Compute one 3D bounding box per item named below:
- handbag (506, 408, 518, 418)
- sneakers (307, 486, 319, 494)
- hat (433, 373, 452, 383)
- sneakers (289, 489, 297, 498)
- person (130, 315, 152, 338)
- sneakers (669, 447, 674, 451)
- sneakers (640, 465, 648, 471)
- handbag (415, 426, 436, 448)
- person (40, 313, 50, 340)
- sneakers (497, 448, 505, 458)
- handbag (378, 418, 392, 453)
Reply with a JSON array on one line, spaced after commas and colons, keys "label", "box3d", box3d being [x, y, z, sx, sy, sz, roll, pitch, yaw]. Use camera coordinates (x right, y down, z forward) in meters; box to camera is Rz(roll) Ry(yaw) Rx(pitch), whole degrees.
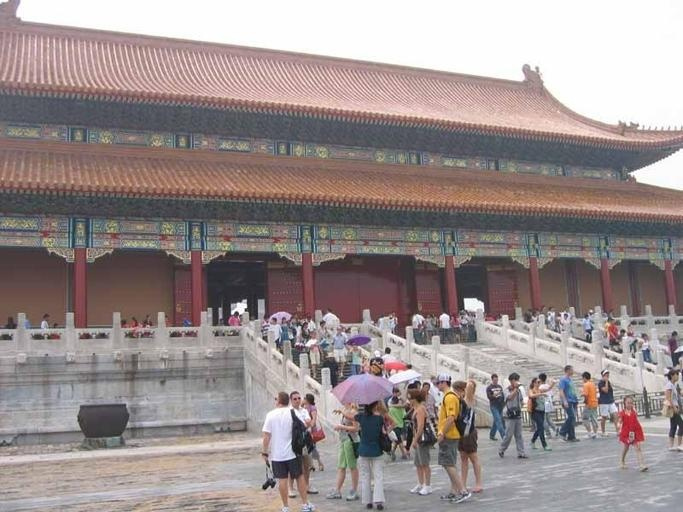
[{"label": "handbag", "box3d": [4.353, 3.995, 23.120, 0.197, 0.241, 0.259, 8, -14, -37]}, {"label": "sneakers", "box3d": [-0.653, 5.455, 21.234, 0.251, 0.145, 0.427, -2, -9, -2]}, {"label": "hat", "box3d": [2.335, 2.853, 21.220, 0.407, 0.224, 0.285, 9, 1, 15]}, {"label": "sneakers", "box3d": [-1.139, 5.480, 21.050, 0.180, 0.154, 0.389, 4, -19, -17]}, {"label": "person", "box3d": [-7.044, 2.485, 31.845, 0.750, 0.455, 1.112, 0, -12, -9]}, {"label": "sneakers", "box3d": [8.300, 4.827, 22.856, 0.074, 0.081, 0.139, 7, -13, -44]}, {"label": "sneakers", "box3d": [7.023, 4.907, 21.125, 0.167, 0.153, 0.291, -6, -10, 17]}, {"label": "handbag", "box3d": [1.877, 4.025, 20.546, 0.324, 0.618, 0.617, -1, -4, -12]}, {"label": "person", "box3d": [-10.405, 2.494, 31.906, 0.305, 1.157, 0.522, -6, -6, -12]}, {"label": "sneakers", "box3d": [4.122, 5.068, 23.496, 0.136, 0.162, 0.239, 2, -7, 3]}, {"label": "handbag", "box3d": [0.956, 3.934, 20.092, 0.210, 0.720, 0.636, -4, -10, 6]}]
